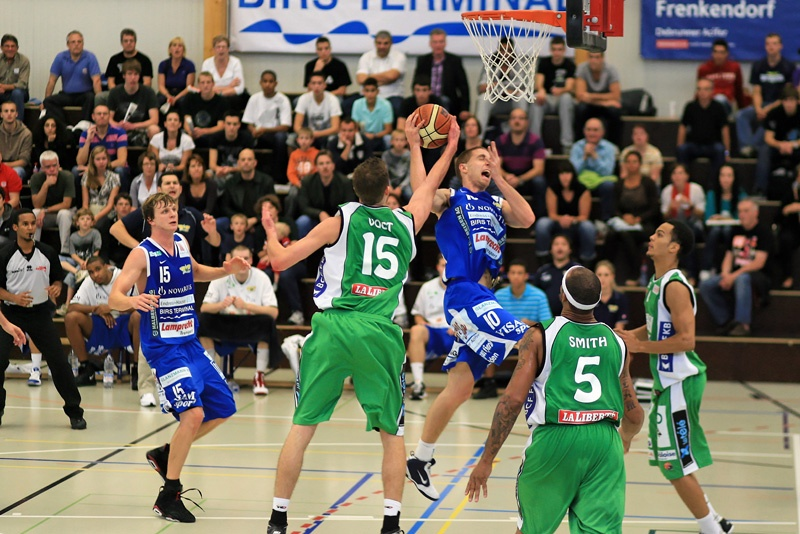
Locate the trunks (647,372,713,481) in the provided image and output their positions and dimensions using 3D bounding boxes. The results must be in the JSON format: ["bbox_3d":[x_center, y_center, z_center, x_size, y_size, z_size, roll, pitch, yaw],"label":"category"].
[{"bbox_3d":[2.985,1.756,10.609,0.549,1.433,0.996,4,-11,-5],"label":"trunks"}]

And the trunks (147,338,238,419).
[{"bbox_3d":[-2.334,1.256,10.972,0.533,1.100,0.809,-24,-15,33],"label":"trunks"}]

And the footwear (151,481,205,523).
[{"bbox_3d":[-2.428,2.522,10.698,0.512,0.453,0.250,17,7,12],"label":"footwear"}]

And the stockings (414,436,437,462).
[{"bbox_3d":[0.262,2.003,10.825,0.213,0.255,0.192,16,8,19],"label":"stockings"}]

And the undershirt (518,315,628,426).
[{"bbox_3d":[1.715,1.088,9.452,0.790,1.231,0.633,1,-4,-1],"label":"undershirt"}]

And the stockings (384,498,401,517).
[{"bbox_3d":[-0.091,2.450,10.083,0.139,0.150,0.154,-14,-32,43],"label":"stockings"}]
